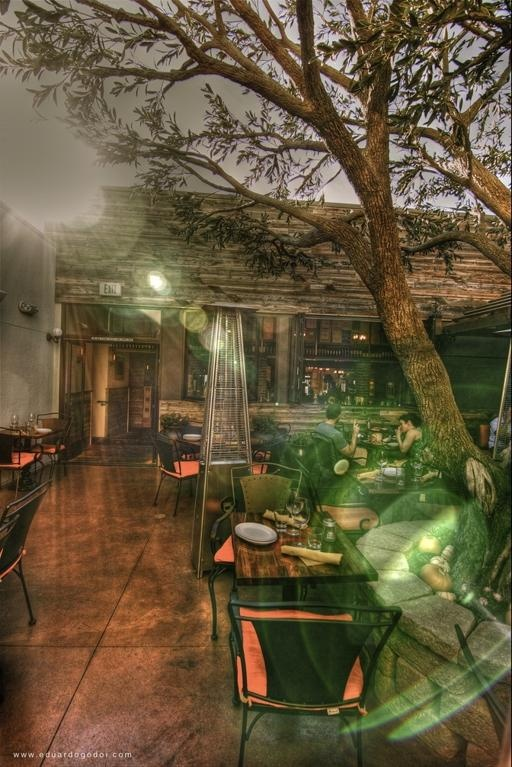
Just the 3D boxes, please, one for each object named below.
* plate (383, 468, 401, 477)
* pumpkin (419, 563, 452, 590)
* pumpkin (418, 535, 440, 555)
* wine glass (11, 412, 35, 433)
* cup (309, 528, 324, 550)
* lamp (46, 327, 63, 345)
[{"bbox_3d":[1.142,0.756,4.013,0.097,0.070,0.097,0,1,10],"label":"plate"},{"bbox_3d":[0.894,0.978,2.379,0.098,0.091,0.098,-2,28,-44],"label":"pumpkin"},{"bbox_3d":[0.933,0.889,2.583,0.115,0.084,0.077,1,3,18],"label":"pumpkin"},{"bbox_3d":[-3.031,0.540,6.220,0.285,0.250,0.282,6,14,2],"label":"wine glass"},{"bbox_3d":[0.299,0.801,2.419,0.066,0.097,0.098,-1,-8,13],"label":"cup"},{"bbox_3d":[-3.123,-0.750,7.402,0.170,0.232,0.225,5,-3,6],"label":"lamp"}]
